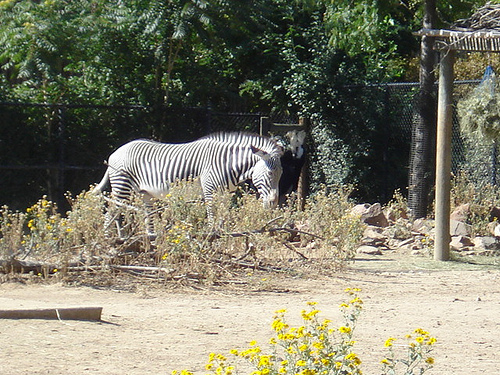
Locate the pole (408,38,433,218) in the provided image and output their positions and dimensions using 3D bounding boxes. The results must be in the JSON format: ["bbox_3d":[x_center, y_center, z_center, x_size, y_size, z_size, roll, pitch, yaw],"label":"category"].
[{"bbox_3d":[3.168,-1.066,22.818,0.390,2.896,0.442,-9,20,-30],"label":"pole"}]

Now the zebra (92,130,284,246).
[{"bbox_3d":[-0.938,-0.297,21.932,3.369,1.340,0.695,-1,-2,30],"label":"zebra"}]

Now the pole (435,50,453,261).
[{"bbox_3d":[3.213,-0.410,20.896,0.376,3.871,0.344,0,8,0],"label":"pole"}]
